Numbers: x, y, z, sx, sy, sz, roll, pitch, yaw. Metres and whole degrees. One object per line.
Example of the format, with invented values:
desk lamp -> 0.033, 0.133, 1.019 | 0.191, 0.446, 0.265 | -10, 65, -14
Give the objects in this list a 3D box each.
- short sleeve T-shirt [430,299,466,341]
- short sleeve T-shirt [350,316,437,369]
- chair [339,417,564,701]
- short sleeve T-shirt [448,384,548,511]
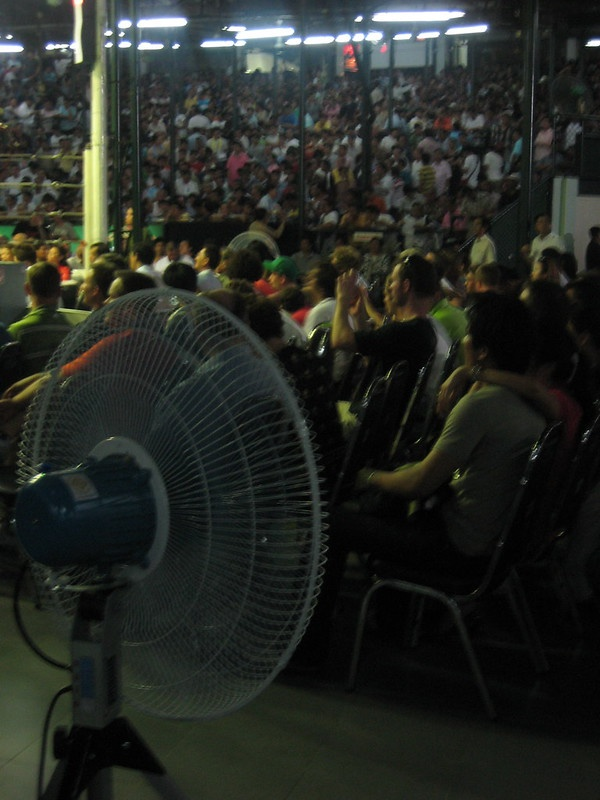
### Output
short sleeve T-shirt -> 0.914, -0.498, 4.382 | 0.201, 0.267, 0.606 | 1, 6, 10
short sleeve T-shirt -> 0.477, -0.273, 3.513 | 0.386, 0.257, 0.223 | 1, 6, 10
chair -> 0.439, 0.469, 2.181 | 0.484, 0.718, 0.423 | 5, 12, 18
short sleeve T-shirt -> 0.576, 0.150, 2.064 | 0.309, 0.342, 0.192 | 14, 10, -6
